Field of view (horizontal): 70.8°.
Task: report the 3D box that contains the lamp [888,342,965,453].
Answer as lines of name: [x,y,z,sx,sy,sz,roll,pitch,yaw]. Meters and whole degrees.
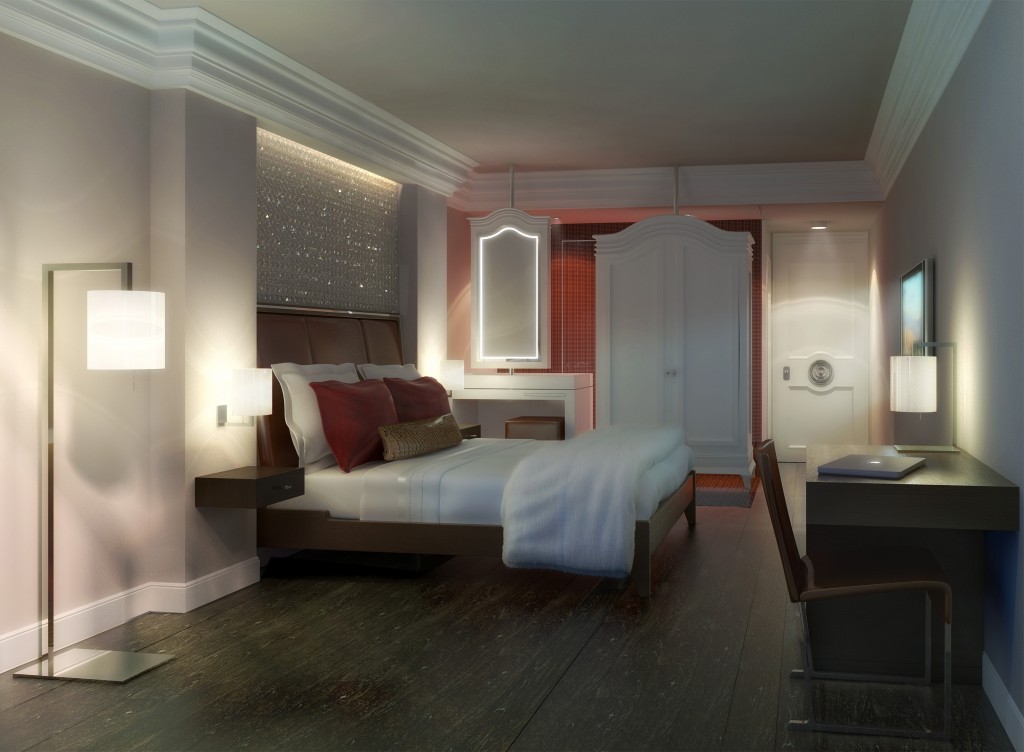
lamp: [2.445,0.149,4.272,0.290,0.707,1.612,1,3,31]

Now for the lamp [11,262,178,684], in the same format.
lamp: [-1.986,0.401,3.321,0.537,1.852,0.810,-3,4,-45]

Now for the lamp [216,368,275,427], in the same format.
lamp: [-1.516,0.125,4.178,0.316,0.343,0.242,1,3,27]

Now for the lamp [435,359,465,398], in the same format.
lamp: [-0.555,0.028,6.609,0.259,0.440,0.272,-2,-1,35]

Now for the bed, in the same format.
bed: [-0.323,0.483,4.925,2.356,1.594,1.796,0,2,9]

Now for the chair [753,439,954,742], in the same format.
chair: [1.399,0.824,2.967,0.677,1.040,0.606,-2,-2,19]

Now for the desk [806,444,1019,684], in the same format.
desk: [1.742,0.736,3.335,0.747,0.968,1.428,0,1,16]
